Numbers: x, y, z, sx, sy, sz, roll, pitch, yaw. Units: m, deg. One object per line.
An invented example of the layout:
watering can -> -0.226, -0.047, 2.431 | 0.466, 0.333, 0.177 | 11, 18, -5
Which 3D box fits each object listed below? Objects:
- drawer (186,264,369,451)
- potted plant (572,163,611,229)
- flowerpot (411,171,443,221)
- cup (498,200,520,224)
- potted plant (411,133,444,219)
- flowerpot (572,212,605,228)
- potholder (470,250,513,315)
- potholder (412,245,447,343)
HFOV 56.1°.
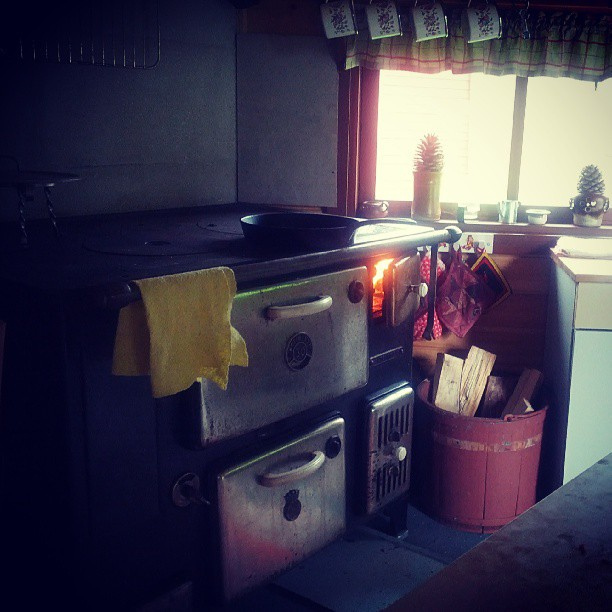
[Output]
drawer -> -0.020, 0.120, 1.427 | 0.085, 0.384, 0.633 | 9, 19, 43
potted plant -> 1.282, -0.481, 2.540 | 0.199, 0.274, 0.118 | -5, 12, -12
flowerpot -> 0.533, -0.482, 2.542 | 0.127, 0.221, 0.101 | 0, 12, 9
cup -> 0.913, -0.420, 2.592 | 0.085, 0.101, 0.088 | -2, 13, 1
potted plant -> 0.537, -0.565, 2.543 | 0.127, 0.364, 0.136 | 0, 12, 11
flowerpot -> 1.256, -0.378, 2.533 | 0.078, 0.074, 0.079 | -2, 10, -5
potholder -> 0.808, -0.111, 2.517 | 0.164, 0.194, 0.019 | -40, -4, 19
potholder -> 0.503, -0.065, 2.414 | 0.105, 0.426, 0.222 | 2, 1, 38
